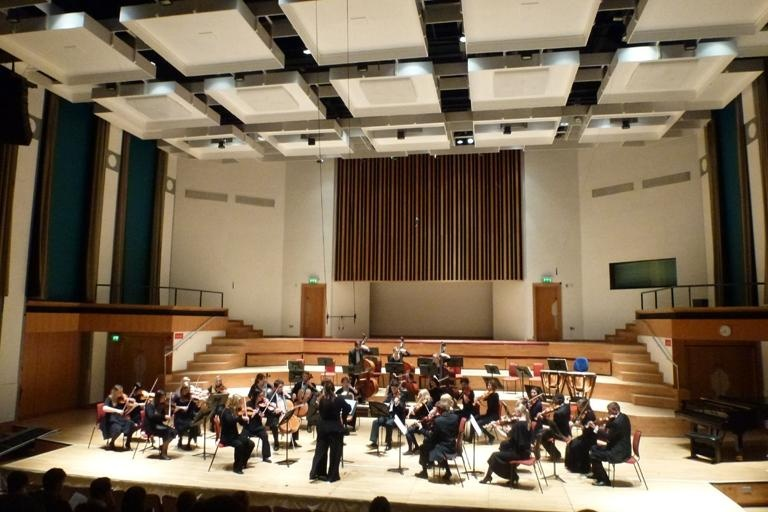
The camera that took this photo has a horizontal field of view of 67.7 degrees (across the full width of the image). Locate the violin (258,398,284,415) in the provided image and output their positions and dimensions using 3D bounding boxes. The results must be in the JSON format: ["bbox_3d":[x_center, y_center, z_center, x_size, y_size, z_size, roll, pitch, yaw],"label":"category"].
[{"bbox_3d":[-2.561,3.487,13.209,0.635,0.137,0.335,7,6,44],"label":"violin"}]

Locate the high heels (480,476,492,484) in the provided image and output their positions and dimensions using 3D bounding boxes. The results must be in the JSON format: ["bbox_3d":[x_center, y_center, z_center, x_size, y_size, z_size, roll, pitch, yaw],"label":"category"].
[{"bbox_3d":[2.105,4.572,11.744,0.280,0.134,0.174,0,12,-2],"label":"high heels"}]

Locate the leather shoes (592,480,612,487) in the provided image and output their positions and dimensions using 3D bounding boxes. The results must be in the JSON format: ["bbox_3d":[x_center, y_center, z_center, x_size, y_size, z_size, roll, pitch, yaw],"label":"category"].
[{"bbox_3d":[4.432,4.596,11.621,0.359,0.084,0.160,3,12,13],"label":"leather shoes"}]

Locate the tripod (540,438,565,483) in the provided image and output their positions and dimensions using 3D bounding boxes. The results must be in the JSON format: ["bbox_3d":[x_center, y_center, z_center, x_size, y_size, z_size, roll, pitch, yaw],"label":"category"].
[{"bbox_3d":[3.599,4.275,12.190,0.743,0.852,0.743,-4,-18,30],"label":"tripod"}]

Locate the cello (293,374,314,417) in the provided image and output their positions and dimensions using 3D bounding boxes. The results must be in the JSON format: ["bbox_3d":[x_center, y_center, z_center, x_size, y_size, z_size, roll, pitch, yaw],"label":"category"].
[{"bbox_3d":[-1.971,3.402,14.013,0.526,1.034,0.312,1,-15,17],"label":"cello"}]

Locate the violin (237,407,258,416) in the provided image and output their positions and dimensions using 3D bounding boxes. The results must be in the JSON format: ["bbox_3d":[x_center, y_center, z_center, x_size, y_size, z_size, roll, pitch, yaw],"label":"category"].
[{"bbox_3d":[-3.040,3.465,12.689,0.410,0.104,0.212,9,-6,-40],"label":"violin"}]

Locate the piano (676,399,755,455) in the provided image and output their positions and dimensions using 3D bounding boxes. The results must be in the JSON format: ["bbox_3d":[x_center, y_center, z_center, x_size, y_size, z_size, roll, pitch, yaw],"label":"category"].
[{"bbox_3d":[7.449,3.718,12.816,1.242,1.213,1.611,3,-8,-1],"label":"piano"}]

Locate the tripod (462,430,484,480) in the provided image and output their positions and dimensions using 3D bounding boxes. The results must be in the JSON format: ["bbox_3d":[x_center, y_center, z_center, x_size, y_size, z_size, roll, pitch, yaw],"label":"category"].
[{"bbox_3d":[1.989,4.480,12.776,0.408,0.996,0.790,-10,-16,25],"label":"tripod"}]

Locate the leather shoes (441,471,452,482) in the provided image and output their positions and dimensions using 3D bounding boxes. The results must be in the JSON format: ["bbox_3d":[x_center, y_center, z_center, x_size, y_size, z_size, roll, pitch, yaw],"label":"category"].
[{"bbox_3d":[1.309,4.544,11.846,0.189,0.183,0.383,2,12,8],"label":"leather shoes"}]

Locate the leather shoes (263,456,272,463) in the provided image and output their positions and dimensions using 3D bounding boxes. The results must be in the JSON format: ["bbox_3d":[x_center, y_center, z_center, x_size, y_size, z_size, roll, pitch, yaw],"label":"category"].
[{"bbox_3d":[-2.562,4.503,12.667,0.217,0.148,0.073,0,-2,1],"label":"leather shoes"}]

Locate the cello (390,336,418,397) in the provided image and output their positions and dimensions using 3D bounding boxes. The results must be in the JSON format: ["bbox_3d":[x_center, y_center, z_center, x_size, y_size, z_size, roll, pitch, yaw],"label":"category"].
[{"bbox_3d":[0.656,3.229,16.228,0.722,1.397,0.414,-11,3,32],"label":"cello"}]

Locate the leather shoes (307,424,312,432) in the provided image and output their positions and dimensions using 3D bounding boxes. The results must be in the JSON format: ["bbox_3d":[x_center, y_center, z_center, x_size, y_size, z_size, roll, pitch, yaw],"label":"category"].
[{"bbox_3d":[-1.952,4.490,14.916,0.111,0.242,0.253,-1,-41,1],"label":"leather shoes"}]

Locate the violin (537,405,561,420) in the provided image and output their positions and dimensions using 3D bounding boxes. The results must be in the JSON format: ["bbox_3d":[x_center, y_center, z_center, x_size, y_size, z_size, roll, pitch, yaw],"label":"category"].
[{"bbox_3d":[3.663,3.458,12.489,0.599,0.118,0.245,-20,-9,-25],"label":"violin"}]

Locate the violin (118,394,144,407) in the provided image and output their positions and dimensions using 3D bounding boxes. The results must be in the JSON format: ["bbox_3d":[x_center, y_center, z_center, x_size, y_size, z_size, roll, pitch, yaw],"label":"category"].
[{"bbox_3d":[-5.969,3.430,13.469,0.486,0.116,0.266,11,-5,0],"label":"violin"}]

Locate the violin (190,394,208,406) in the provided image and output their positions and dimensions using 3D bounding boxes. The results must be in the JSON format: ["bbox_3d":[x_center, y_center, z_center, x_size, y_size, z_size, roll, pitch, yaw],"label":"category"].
[{"bbox_3d":[-4.261,3.301,13.095,0.451,0.129,0.460,6,-5,-44],"label":"violin"}]

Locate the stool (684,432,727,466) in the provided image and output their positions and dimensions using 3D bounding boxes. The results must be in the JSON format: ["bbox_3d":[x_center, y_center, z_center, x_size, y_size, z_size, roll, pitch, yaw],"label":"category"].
[{"bbox_3d":[7.218,4.211,12.805,0.578,0.617,0.912,2,-1,32],"label":"stool"}]

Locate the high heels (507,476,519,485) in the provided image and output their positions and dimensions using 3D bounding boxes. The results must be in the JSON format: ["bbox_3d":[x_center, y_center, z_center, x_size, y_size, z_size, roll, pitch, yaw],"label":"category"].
[{"bbox_3d":[2.621,4.589,11.666,0.106,0.170,0.329,-15,-30,36],"label":"high heels"}]
